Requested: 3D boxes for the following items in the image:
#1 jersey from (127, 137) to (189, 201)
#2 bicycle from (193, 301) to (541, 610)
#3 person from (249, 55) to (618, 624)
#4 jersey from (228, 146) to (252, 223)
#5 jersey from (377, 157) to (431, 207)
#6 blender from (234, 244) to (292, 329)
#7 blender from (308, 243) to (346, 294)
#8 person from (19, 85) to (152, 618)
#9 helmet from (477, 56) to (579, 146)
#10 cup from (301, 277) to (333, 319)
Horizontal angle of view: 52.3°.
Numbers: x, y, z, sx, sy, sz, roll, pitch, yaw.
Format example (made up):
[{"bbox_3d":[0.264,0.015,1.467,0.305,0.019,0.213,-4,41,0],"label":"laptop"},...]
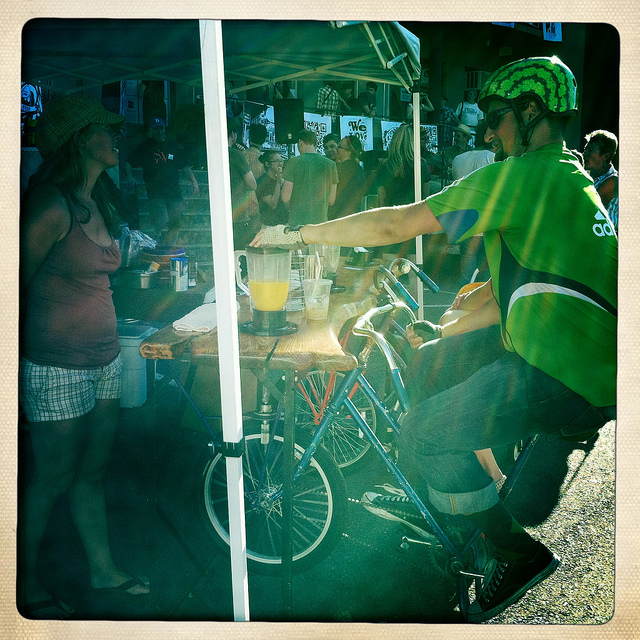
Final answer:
[{"bbox_3d":[-2.017,-1.855,8.180,0.535,0.761,0.382,-5,11,-17],"label":"jersey"},{"bbox_3d":[0.033,0.668,3.537,1.998,1.451,0.987,10,11,15],"label":"bicycle"},{"bbox_3d":[0.718,0.180,2.908,1.101,2.535,0.728,3,11,25],"label":"person"},{"bbox_3d":[-0.824,-1.408,6.896,0.209,0.794,0.668,-3,11,-7],"label":"jersey"},{"bbox_3d":[0.951,-1.834,8.148,0.721,0.785,0.411,-12,-29,25],"label":"jersey"},{"bbox_3d":[-0.220,-0.139,2.799,0.203,0.472,0.210,-8,11,-44],"label":"blender"},{"bbox_3d":[0.047,-0.310,3.735,0.226,0.300,0.252,4,14,12],"label":"blender"},{"bbox_3d":[-1.121,0.178,3.006,0.674,2.359,0.426,-8,12,-33],"label":"person"},{"bbox_3d":[0.857,-0.894,2.716,0.382,0.343,0.133,2,11,20],"label":"helmet"},{"bbox_3d":[-0.029,-0.097,3.048,0.172,0.212,0.180,-1,-7,0],"label":"cup"}]
